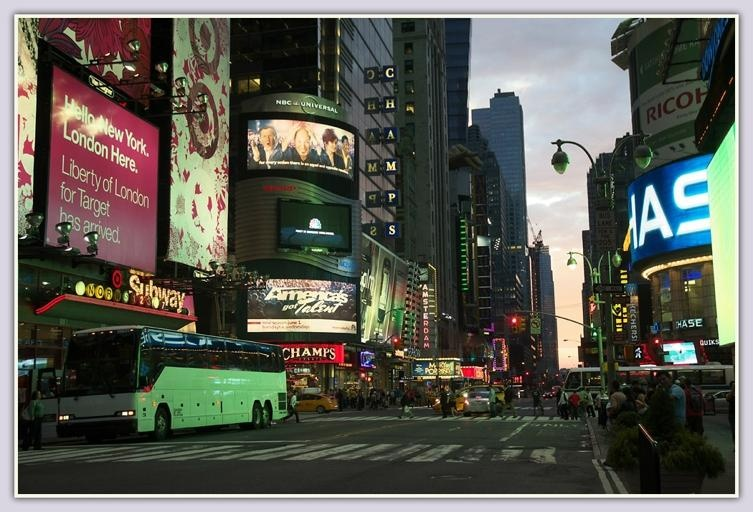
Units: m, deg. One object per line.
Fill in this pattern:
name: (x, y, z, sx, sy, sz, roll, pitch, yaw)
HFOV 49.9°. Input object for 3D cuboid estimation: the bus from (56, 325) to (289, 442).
bus: (-9.482, 6.564, 41.590, 3.874, 4.829, 16.712, -4, -10, 16)

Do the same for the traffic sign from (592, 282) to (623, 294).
traffic sign: (10.274, 1.365, 35.640, 1.180, 0.452, 1.116, -1, -15, 6)

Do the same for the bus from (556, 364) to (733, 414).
bus: (21.611, 10.648, 64.972, 13.878, 3.705, 2.957, -1, -11, 2)
